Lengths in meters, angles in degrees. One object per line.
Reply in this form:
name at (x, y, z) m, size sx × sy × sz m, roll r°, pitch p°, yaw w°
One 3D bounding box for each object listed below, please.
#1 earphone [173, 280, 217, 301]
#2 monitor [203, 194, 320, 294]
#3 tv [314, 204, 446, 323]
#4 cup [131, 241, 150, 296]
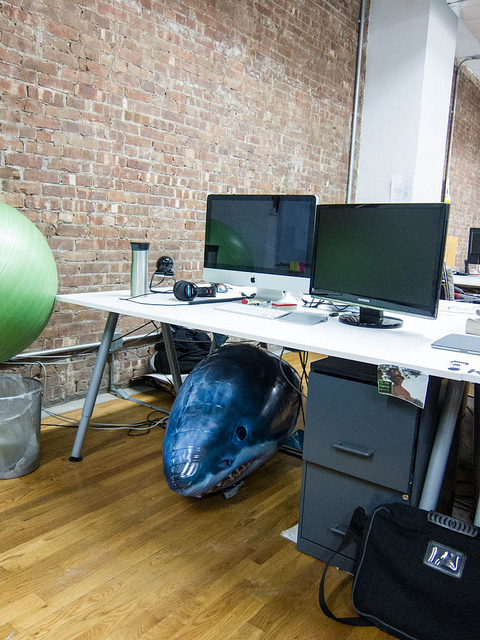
earphone at (-0.201, -0.129, 1.955) m, size 0.087 × 0.070 × 0.143 m, roll 9°, pitch 10°, yaw 31°
monitor at (0.072, -0.318, 1.916) m, size 0.540 × 0.390 × 0.055 m, roll 10°, pitch 13°, yaw 35°
tv at (0.423, -0.201, 1.450) m, size 0.081 × 0.324 × 0.442 m, roll -12°, pitch 18°, yaw -42°
cup at (-0.442, -0.225, 2.050) m, size 0.069 × 0.231 × 0.108 m, roll 1°, pitch 7°, yaw -14°
